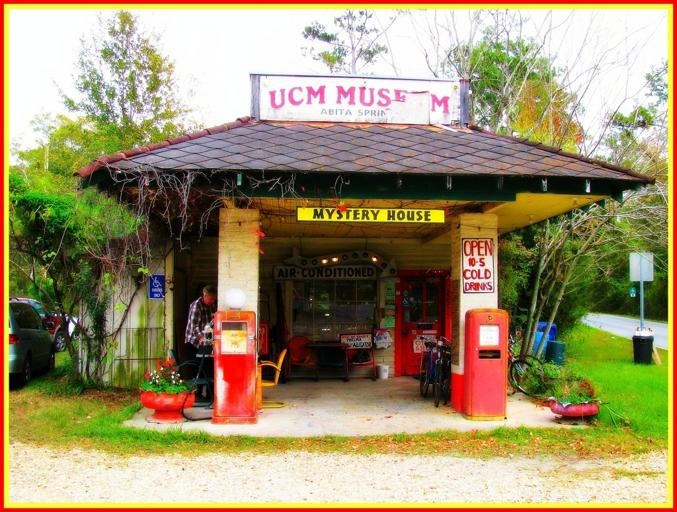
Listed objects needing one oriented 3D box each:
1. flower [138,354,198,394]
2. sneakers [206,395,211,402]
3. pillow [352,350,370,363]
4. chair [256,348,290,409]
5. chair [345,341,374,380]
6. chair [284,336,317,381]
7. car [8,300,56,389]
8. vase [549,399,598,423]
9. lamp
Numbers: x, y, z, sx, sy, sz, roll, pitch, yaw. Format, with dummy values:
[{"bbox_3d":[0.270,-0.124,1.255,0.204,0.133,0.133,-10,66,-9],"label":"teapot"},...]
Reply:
[{"bbox_3d":[-3.154,2.240,11.368,0.865,0.695,0.959,5,3,19],"label":"flower"},{"bbox_3d":[-2.622,2.873,12.693,0.061,0.067,0.117,8,29,-5],"label":"sneakers"},{"bbox_3d":[0.575,2.511,15.769,0.465,0.280,0.191,1,5,3],"label":"pillow"},{"bbox_3d":[-1.376,2.367,12.283,0.655,1.115,0.797,1,-5,-10],"label":"chair"},{"bbox_3d":[0.487,2.688,16.096,0.727,1.055,0.767,0,-11,-1],"label":"chair"},{"bbox_3d":[-0.895,2.450,15.225,1.231,1.075,1.272,0,-9,-15],"label":"chair"},{"bbox_3d":[-7.026,1.947,14.286,0.610,1.994,2.484,-1,5,-19],"label":"car"},{"bbox_3d":[4.233,2.757,11.254,0.830,0.392,0.464,2,5,22],"label":"vase"},{"bbox_3d":[-0.072,0.204,16.158,3.047,0.862,0.407,2,-10,-14],"label":"lamp"}]
